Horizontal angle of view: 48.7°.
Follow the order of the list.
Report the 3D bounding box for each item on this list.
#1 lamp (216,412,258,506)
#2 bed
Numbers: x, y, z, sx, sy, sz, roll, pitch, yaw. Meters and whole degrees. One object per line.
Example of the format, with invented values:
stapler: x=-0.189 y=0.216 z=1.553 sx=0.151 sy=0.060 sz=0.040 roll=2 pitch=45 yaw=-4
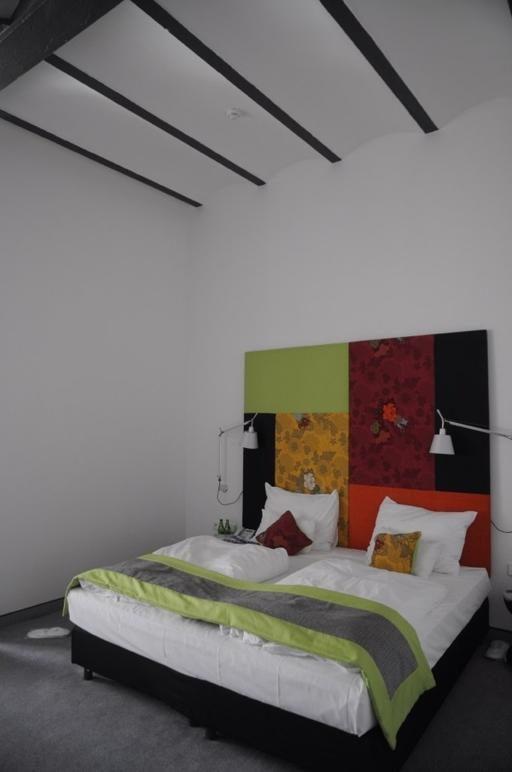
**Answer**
lamp: x=-0.129 y=0.622 z=4.594 sx=0.195 sy=0.548 sz=0.595 roll=-7 pitch=4 yaw=-35
bed: x=0.125 y=1.158 z=2.864 sx=1.728 sy=0.484 sz=1.436 roll=-3 pitch=4 yaw=40
